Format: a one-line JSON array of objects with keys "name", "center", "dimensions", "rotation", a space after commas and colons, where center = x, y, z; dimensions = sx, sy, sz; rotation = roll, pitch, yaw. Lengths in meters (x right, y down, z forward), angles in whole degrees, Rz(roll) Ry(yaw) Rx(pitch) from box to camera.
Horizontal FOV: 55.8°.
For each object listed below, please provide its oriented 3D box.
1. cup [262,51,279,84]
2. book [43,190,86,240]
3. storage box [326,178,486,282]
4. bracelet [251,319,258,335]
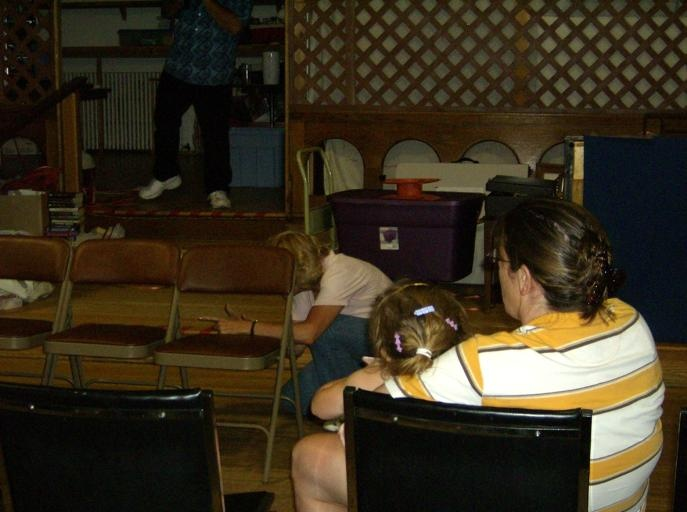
[{"name": "cup", "center": [-0.869, -2.249, 7.779], "dimensions": [0.199, 0.431, 0.211], "rotation": [-1, 4, 0]}, {"name": "book", "center": [-2.056, -0.292, 4.798], "dimensions": [0.316, 0.446, 0.313], "rotation": [3, 0, -33]}, {"name": "storage box", "center": [0.386, -0.151, 4.242], "dimensions": [0.890, 0.549, 0.642], "rotation": [3, 14, 22]}, {"name": "bracelet", "center": [-0.381, 0.307, 2.757], "dimensions": [0.034, 0.048, 0.017], "rotation": [-1, -5, 17]}]
